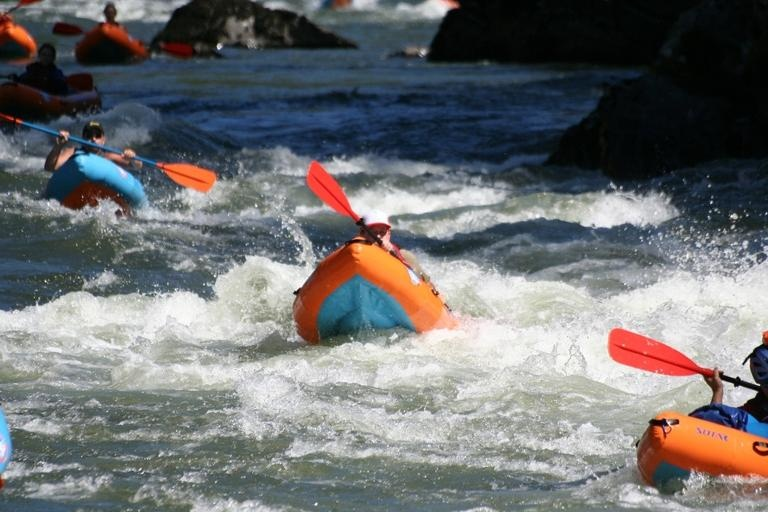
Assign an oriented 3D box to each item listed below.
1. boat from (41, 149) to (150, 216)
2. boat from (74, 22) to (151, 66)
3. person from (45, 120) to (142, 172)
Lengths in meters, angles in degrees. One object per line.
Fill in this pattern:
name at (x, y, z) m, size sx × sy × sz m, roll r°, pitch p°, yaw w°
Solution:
boat at (-4.812, -1.039, 22.292) m, size 1.716 × 0.638 × 2.283 m, roll -8°, pitch -12°, yaw 1°
boat at (-7.209, -5.289, 34.481) m, size 1.910 × 0.798 × 3.465 m, roll -5°, pitch -1°, yaw -14°
person at (-5.077, -1.841, 22.266) m, size 1.078 × 0.458 × 1.355 m, roll 4°, pitch -14°, yaw -7°
